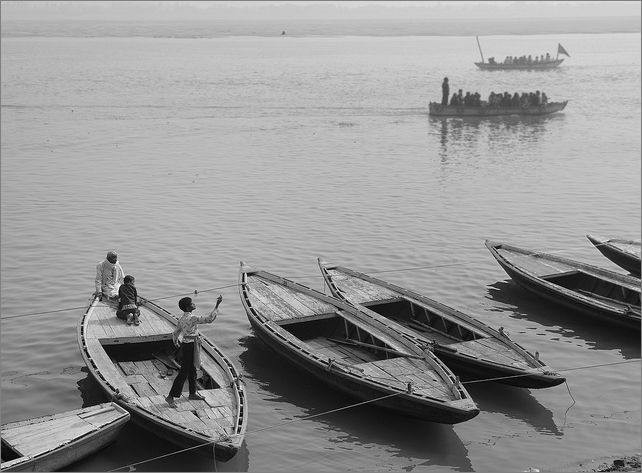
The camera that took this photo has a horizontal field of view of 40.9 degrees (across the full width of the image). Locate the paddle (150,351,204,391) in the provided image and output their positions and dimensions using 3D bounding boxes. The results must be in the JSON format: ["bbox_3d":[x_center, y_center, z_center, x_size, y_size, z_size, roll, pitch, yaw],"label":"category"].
[{"bbox_3d":[-4.587,4.229,27.434,0.773,0.414,3.220,-19,21,-20],"label":"paddle"}]

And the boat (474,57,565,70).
[{"bbox_3d":[27.453,-23.415,116.900,13.500,1.559,2.545,-9,21,-26],"label":"boat"}]
